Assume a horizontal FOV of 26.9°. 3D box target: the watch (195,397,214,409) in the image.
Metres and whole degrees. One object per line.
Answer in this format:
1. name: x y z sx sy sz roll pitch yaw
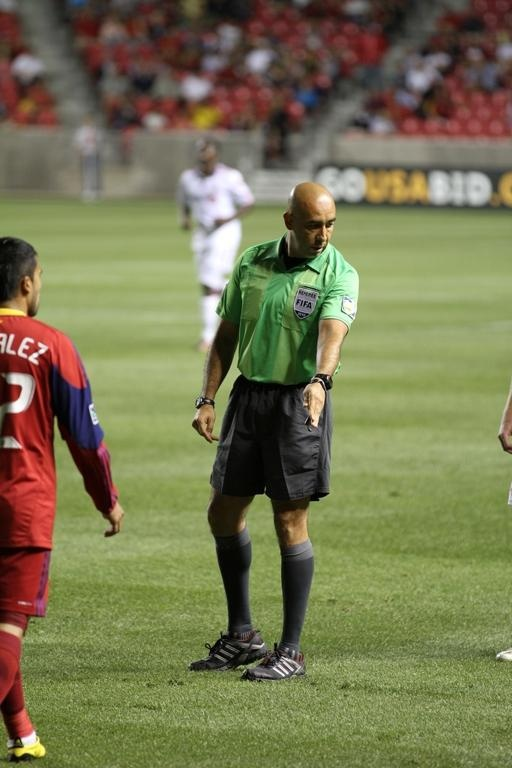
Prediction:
1. watch: -0.180 0.070 3.844 0.062 0.036 0.060 12 -16 -9

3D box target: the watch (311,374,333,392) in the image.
1. watch: 0.208 -0.001 3.385 0.057 0.035 0.066 18 -1 -10

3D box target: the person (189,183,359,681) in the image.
1. person: 0.034 0.169 3.649 0.569 1.687 0.654 2 10 7

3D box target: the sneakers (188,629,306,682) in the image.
1. sneakers: -0.018 0.923 3.682 0.433 0.144 0.141 -2 9 19
